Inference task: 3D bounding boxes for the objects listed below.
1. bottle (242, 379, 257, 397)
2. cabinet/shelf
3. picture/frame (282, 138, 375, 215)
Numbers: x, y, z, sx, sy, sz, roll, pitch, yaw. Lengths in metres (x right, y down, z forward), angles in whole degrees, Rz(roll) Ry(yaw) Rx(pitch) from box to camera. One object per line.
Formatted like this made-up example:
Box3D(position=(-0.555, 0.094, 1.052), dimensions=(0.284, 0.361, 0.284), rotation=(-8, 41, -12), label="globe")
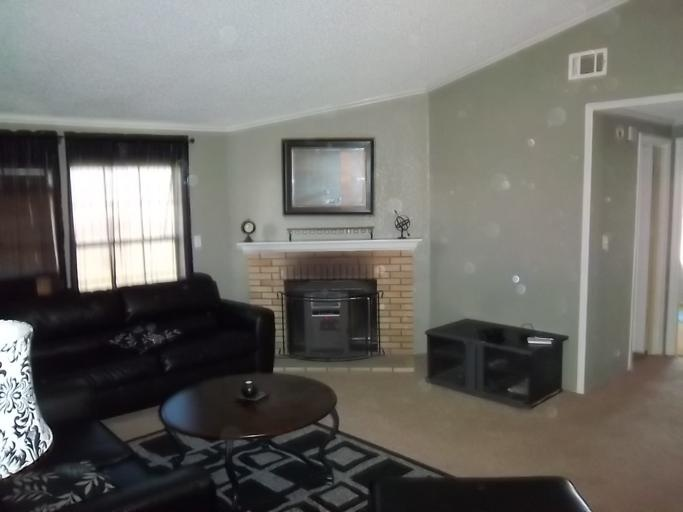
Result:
Box3D(position=(-0.596, 0.873, 3.595), dimensions=(0.094, 0.087, 0.095), rotation=(-4, -7, 42), label="bottle")
Box3D(position=(1.464, 0.718, 4.697), dimensions=(0.952, 0.430, 0.634), rotation=(6, 11, 44), label="cabinet/shelf")
Box3D(position=(-0.094, -0.867, 5.678), dimensions=(0.772, 0.622, 0.082), rotation=(0, 5, -2), label="picture/frame")
